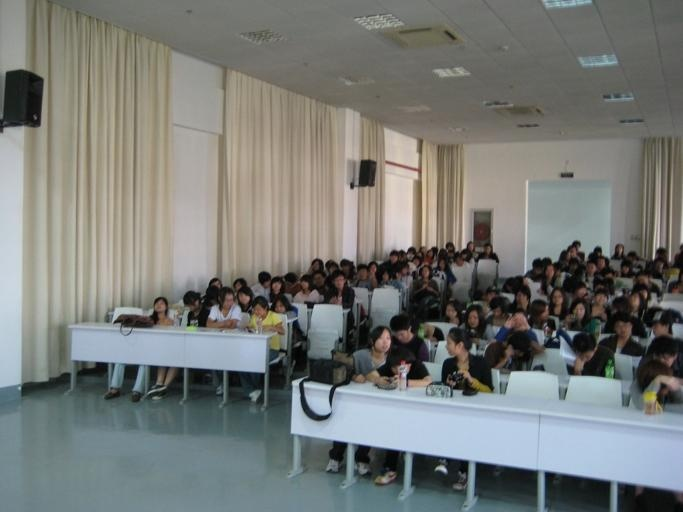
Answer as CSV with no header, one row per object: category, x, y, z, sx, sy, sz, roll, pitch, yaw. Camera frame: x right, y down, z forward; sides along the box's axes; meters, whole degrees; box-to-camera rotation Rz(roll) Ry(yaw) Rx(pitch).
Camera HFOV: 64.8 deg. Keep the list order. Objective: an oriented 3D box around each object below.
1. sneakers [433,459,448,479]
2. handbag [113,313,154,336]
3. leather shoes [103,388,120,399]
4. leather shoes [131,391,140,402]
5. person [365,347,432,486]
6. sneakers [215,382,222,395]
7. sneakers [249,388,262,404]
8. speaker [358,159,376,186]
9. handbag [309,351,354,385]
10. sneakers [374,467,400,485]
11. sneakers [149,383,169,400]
sneakers,0.964,2.035,5.136,0.124,0.130,0.116,2,1,-8
handbag,-2.603,0.858,6.789,0.354,0.128,0.288,1,-1,-2
leather shoes,-2.896,1.753,6.830,0.075,0.103,0.220,1,-10,18
leather shoes,-2.570,1.773,6.762,0.081,0.097,0.220,3,-10,-23
person,0.521,1.497,5.125,0.623,1.274,0.655,6,-6,21
sneakers,-1.581,1.760,7.063,0.131,0.141,0.092,-10,-13,37
sneakers,-1.083,1.790,6.850,0.077,0.239,0.102,4,44,-9
speaker,0.588,-1.927,12.485,0.397,0.608,0.297,2,6,10
handbag,-0.045,1.044,4.965,0.270,0.178,0.273,3,-3,-45
sneakers,0.419,2.048,4.990,0.085,0.087,0.198,-6,-11,38
sneakers,-2.339,1.754,6.922,0.147,0.079,0.207,0,2,4
